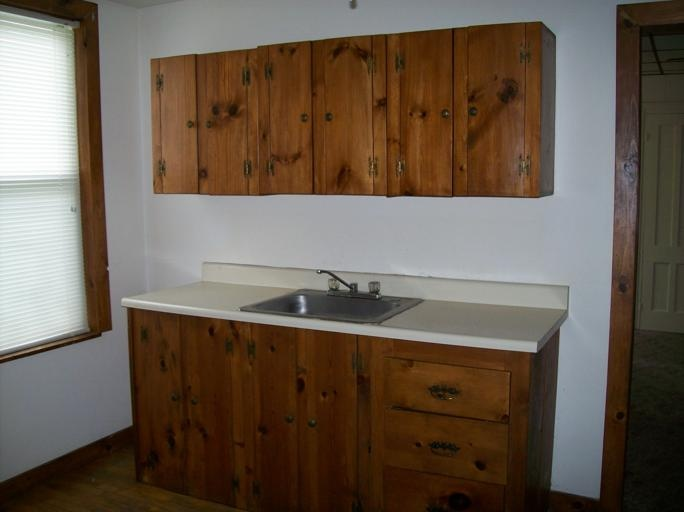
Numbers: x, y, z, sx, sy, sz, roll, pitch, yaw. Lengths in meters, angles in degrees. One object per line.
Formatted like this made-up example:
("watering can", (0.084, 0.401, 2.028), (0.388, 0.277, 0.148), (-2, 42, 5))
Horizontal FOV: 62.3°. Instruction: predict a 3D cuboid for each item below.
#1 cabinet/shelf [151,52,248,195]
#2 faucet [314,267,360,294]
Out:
("cabinet/shelf", (-0.819, -0.795, 3.331), (0.745, 0.817, 0.264), (1, 6, 16))
("faucet", (0.036, 0.150, 3.445), (0.094, 0.188, 0.430), (-8, -10, 39))
